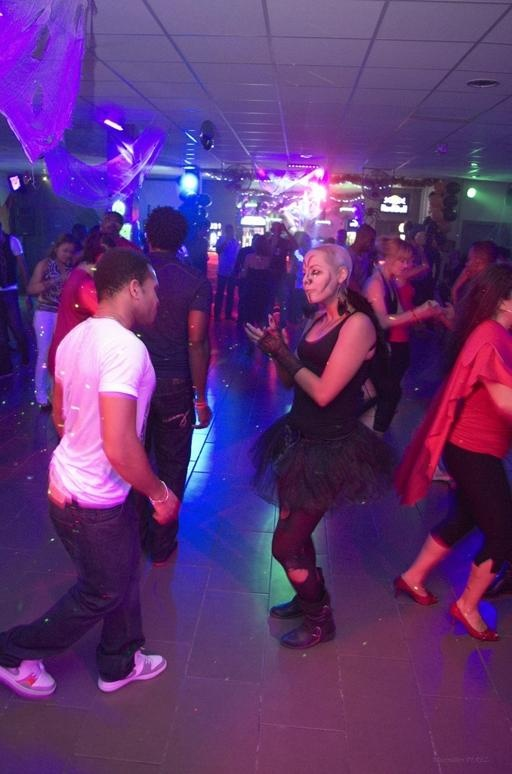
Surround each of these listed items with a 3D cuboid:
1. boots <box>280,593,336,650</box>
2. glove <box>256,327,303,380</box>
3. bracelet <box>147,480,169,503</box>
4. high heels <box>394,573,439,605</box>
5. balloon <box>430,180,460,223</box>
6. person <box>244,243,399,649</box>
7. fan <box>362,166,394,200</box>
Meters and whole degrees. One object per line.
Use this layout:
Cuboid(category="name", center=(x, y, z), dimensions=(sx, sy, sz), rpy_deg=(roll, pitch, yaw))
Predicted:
Cuboid(category="boots", center=(0.212, 0.895, 1.992), dimensions=(0.268, 0.221, 0.115), rpy_deg=(5, -5, -32))
Cuboid(category="glove", center=(0.079, -0.109, 1.673), dimensions=(0.142, 0.147, 0.101), rpy_deg=(4, 8, 3))
Cuboid(category="bracelet", center=(-0.244, 0.260, 1.292), dimensions=(0.046, 0.030, 0.056), rpy_deg=(1, 3, 12))
Cuboid(category="high heels", center=(0.684, 0.888, 2.255), dimensions=(0.200, 0.106, 0.080), rpy_deg=(15, 5, 11))
Cuboid(category="balloon", center=(4.216, -4.157, 11.517), dimensions=(0.570, 0.937, 0.759), rpy_deg=(6, 9, 16))
Cuboid(category="person", center=(0.206, 0.241, 1.844), dimensions=(0.495, 1.472, 0.434), rpy_deg=(6, 9, 21))
Cuboid(category="fan", center=(3.134, -5.352, 13.478), dimensions=(0.675, 0.558, 0.773), rpy_deg=(2, 18, 2))
